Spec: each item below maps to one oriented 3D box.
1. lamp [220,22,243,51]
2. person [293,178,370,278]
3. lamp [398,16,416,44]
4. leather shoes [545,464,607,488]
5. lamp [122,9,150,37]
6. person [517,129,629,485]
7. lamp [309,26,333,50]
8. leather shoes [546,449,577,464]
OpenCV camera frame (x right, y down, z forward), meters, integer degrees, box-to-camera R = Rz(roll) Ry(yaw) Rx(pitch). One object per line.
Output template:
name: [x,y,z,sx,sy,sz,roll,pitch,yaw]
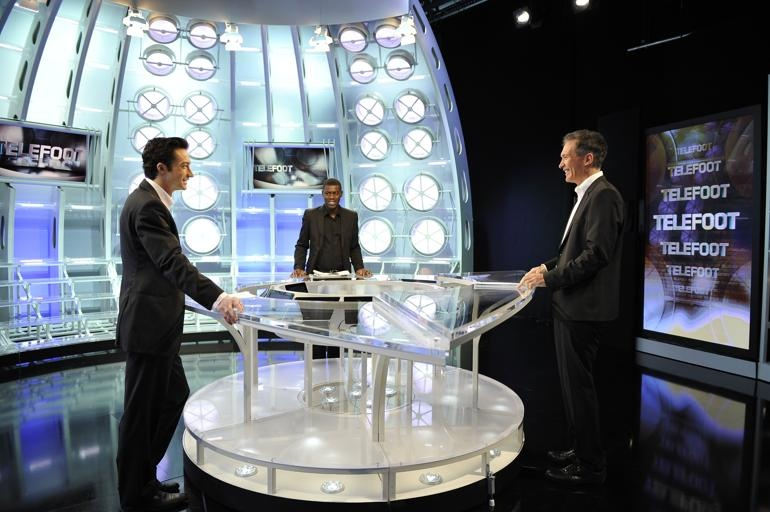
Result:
lamp: [-2.655,-3.775,9.397,0.349,0.437,0.438,-4,14,-15]
person: [-0.657,-0.357,6.983,0.755,1.269,0.984,7,15,27]
lamp: [0.403,-3.844,9.294,0.311,0.420,0.336,1,13,5]
leather shoes: [1.750,1.999,4.938,0.528,0.220,0.207,2,-3,4]
lamp: [-4.080,-3.821,8.953,0.377,0.427,0.324,-6,14,-23]
person: [1.785,0.438,5.022,0.715,3.105,0.918,5,14,20]
lamp: [-1.119,-3.826,9.567,0.379,0.533,0.473,-1,18,-12]
leather shoes: [1.693,1.899,5.197,0.278,0.116,0.106,2,3,11]
